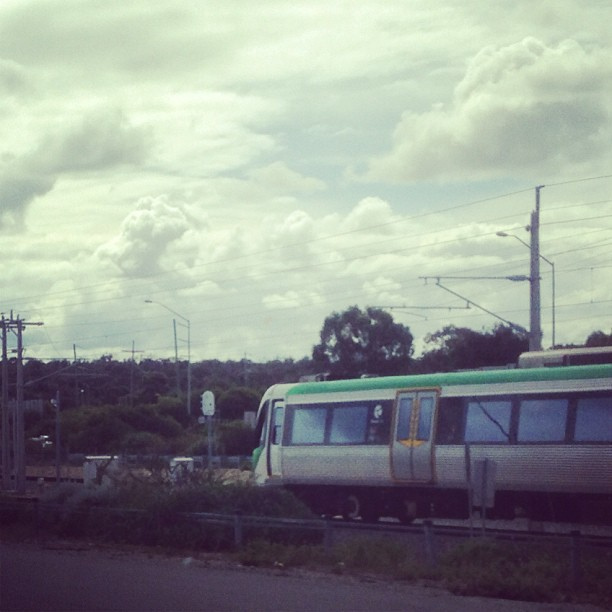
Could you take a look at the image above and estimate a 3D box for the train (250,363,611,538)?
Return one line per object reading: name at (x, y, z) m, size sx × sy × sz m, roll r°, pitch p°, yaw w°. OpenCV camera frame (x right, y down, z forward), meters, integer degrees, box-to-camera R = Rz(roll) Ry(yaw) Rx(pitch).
train at (3.145, 3.606, 28.136) m, size 9.825 × 3.980 × 1.829 m, roll -3°, pitch -4°, yaw 32°
